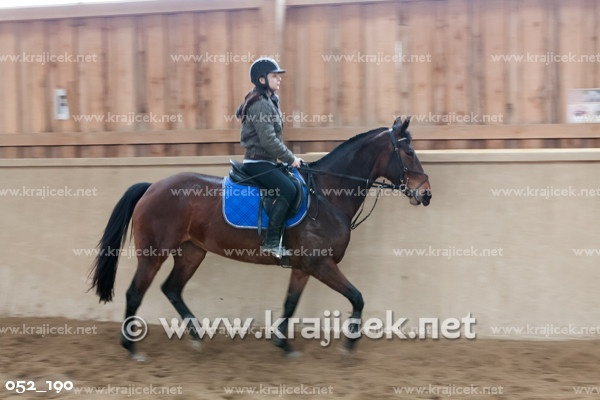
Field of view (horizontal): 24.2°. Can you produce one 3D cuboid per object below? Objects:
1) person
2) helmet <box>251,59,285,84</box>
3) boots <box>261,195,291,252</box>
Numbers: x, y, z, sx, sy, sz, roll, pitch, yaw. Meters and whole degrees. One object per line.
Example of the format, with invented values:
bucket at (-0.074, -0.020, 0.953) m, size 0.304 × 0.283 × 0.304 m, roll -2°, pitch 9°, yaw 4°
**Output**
person at (-0.433, -0.566, 18.702) m, size 0.852 × 2.675 × 0.429 m, roll 0°, pitch 3°, yaw 15°
helmet at (-0.473, -1.754, 18.804) m, size 0.449 × 0.226 × 0.301 m, roll -11°, pitch 9°, yaw 7°
boots at (-0.334, 0.357, 18.592) m, size 0.377 × 0.786 × 0.175 m, roll 0°, pitch 3°, yaw 13°
